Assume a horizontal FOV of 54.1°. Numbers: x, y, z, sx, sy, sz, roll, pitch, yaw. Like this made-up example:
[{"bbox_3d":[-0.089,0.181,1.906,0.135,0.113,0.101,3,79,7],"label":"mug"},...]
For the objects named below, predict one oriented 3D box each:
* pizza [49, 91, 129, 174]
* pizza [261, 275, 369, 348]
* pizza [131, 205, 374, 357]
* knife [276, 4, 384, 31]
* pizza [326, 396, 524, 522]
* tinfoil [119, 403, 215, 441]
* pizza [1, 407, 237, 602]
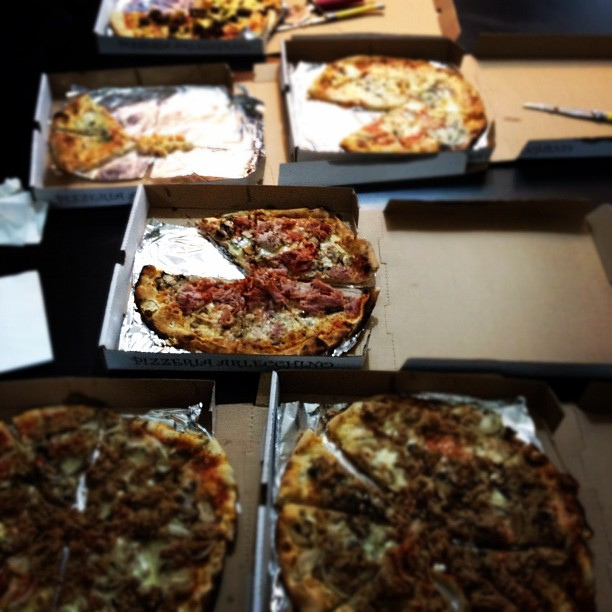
[{"bbox_3d":[-0.845,-0.689,2.567,0.441,0.328,0.086,-13,61,39],"label":"pizza"},{"bbox_3d":[0.033,-0.007,2.099,0.366,0.061,0.198,31,62,17],"label":"pizza"},{"bbox_3d":[-0.173,-0.118,2.156,0.815,0.081,0.706,7,53,3],"label":"pizza"},{"bbox_3d":[0.103,-1.507,3.144,0.630,0.083,0.050,-12,17,-6],"label":"knife"},{"bbox_3d":[0.343,0.466,1.762,0.374,0.112,0.365,5,30,10],"label":"pizza"},{"bbox_3d":[-0.379,0.346,1.807,0.175,0.039,0.129,15,28,-3],"label":"tinfoil"},{"bbox_3d":[-0.553,0.557,1.660,0.710,0.109,0.535,7,53,3],"label":"pizza"}]
